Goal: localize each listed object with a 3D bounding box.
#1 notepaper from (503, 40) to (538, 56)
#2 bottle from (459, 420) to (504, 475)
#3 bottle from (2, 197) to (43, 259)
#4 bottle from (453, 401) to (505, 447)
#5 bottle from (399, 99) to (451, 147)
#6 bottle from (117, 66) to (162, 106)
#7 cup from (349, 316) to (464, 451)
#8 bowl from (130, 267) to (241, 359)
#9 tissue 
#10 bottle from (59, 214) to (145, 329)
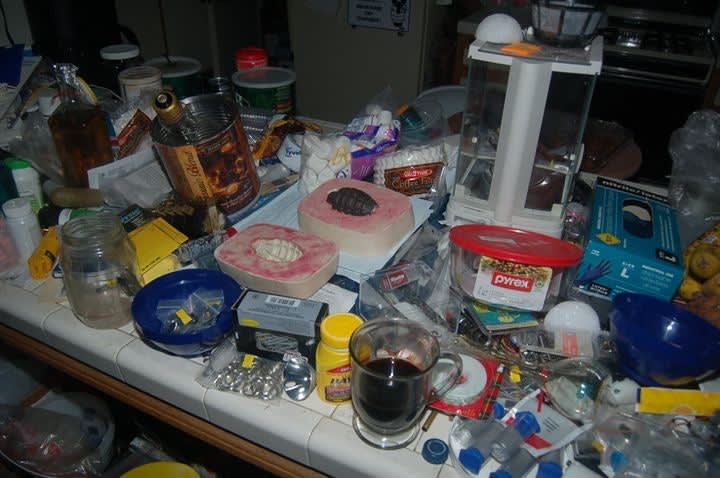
[{"bbox_3d":[0.366,-0.439,1.152,0.084,0.013,0.074,14,40,15],"label":"notepaper"},{"bbox_3d":[0.238,0.404,1.004,0.057,0.054,0.102,36,51,12],"label":"bottle"},{"bbox_3d":[-0.857,-0.033,1.277,0.086,0.148,0.089,1,35,-1],"label":"bottle"},{"bbox_3d":[0.232,0.375,1.030,0.078,0.056,0.103,12,28,35],"label":"bottle"},{"bbox_3d":[0.193,-0.369,1.593,0.169,0.165,0.172,8,34,14],"label":"bottle"},{"bbox_3d":[-0.668,-0.485,1.545,0.117,0.088,0.116,2,40,-2],"label":"bottle"},{"bbox_3d":[0.077,0.278,1.013,0.167,0.328,0.151,-21,40,-28],"label":"cup"},{"bbox_3d":[-0.382,0.157,1.068,0.199,0.091,0.204,2,47,-2],"label":"bowl"},{"bbox_3d":[0.638,0.010,1.221,0.258,0.161,0.305,16,36,20],"label":"tissue "},{"bbox_3d":[-0.588,0.084,1.140,0.179,0.273,0.179,1,35,-1],"label":"bottle"}]
